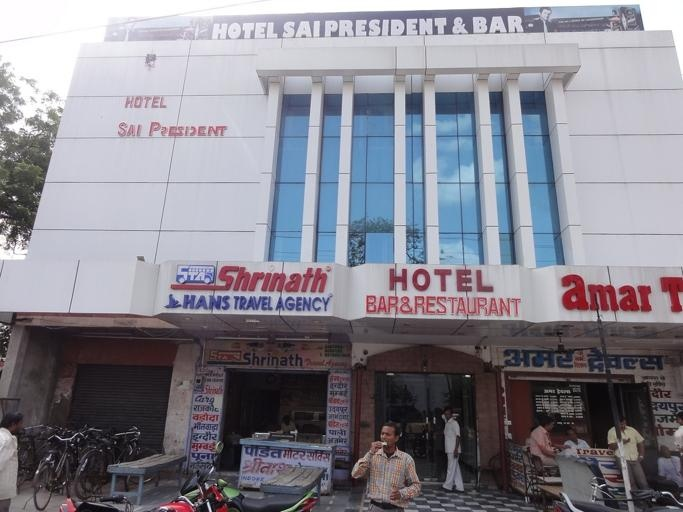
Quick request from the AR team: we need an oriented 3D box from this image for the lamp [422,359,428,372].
[{"bbox_3d":[2.598,3.403,15.312,0.181,0.359,0.096,-4,-21,8],"label":"lamp"}]
